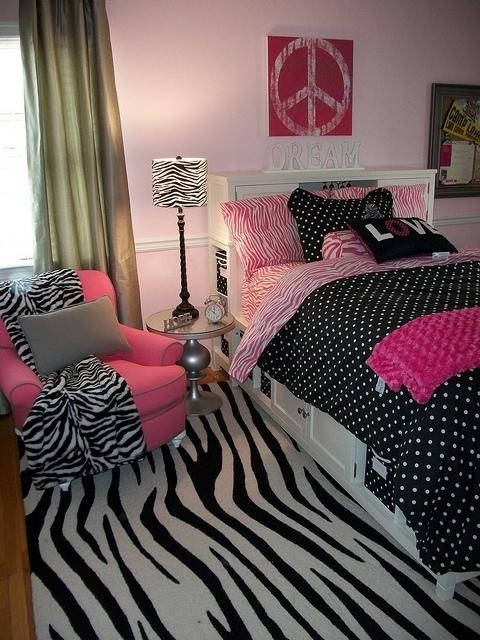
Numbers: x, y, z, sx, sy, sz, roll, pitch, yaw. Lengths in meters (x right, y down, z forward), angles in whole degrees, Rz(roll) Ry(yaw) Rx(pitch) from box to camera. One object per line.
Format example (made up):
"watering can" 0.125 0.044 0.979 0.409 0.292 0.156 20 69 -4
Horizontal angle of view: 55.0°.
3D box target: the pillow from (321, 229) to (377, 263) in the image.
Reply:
"pillow" 0.574 -0.397 2.493 0.182 0.082 0.188 -9 54 -9

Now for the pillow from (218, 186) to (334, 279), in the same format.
"pillow" 0.140 -0.497 2.666 0.480 0.475 0.129 -16 0 -27

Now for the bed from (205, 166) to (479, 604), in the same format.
"bed" 0.667 0.024 2.471 1.304 1.249 1.921 -14 31 -22
